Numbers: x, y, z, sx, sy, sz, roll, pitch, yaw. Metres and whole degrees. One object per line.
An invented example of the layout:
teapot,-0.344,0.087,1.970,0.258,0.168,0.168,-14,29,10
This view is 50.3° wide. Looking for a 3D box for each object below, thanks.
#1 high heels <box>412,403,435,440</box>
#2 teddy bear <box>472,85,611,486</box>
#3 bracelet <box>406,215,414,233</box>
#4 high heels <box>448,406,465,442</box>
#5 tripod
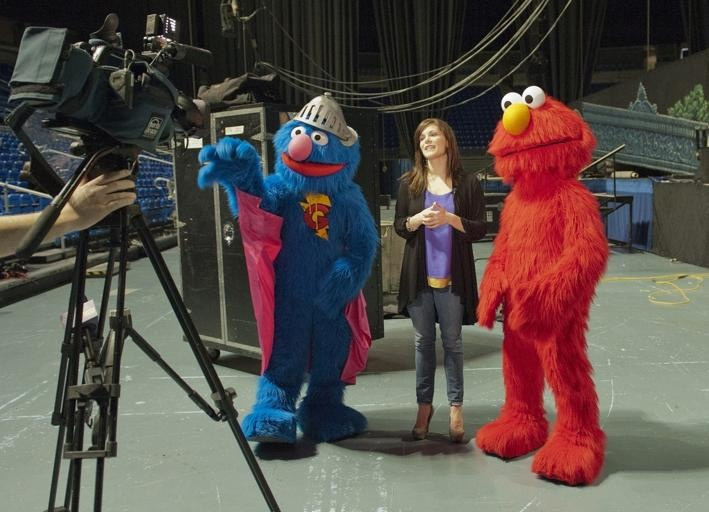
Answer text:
high heels,0.383,0.912,4.163,0.102,0.251,0.077,4,27,-1
teddy bear,0.971,0.130,3.905,0.662,1.995,0.410,2,7,17
bracelet,0.301,-0.169,4.117,0.026,0.066,0.051,-6,5,-40
high heels,0.564,0.910,4.167,0.084,0.200,0.126,1,7,7
tripod,-0.979,0.352,3.323,0.878,1.651,0.446,-3,7,-24
